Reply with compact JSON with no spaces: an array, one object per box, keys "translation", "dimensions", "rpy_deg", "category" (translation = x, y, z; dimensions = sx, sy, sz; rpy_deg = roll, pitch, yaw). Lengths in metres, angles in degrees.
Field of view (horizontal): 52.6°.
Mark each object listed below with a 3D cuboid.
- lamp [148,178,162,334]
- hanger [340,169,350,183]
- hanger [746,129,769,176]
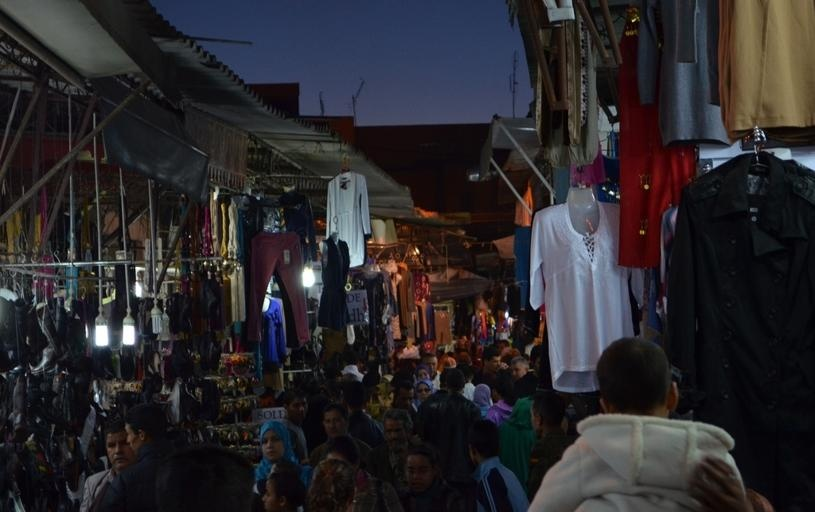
[{"translation":[-2.475,0.010,8.211],"dimensions":[0.140,1.471,0.140],"rpy_deg":[-4,-9,24],"category":"lamp"},{"translation":[-0.748,-0.960,10.030],"dimensions":[0.104,0.155,0.153],"rpy_deg":[1,10,8],"category":"hanger"},{"translation":[2.321,-0.679,5.415],"dimensions":[0.098,0.270,0.512],"rpy_deg":[-7,-11,23],"category":"hanger"}]
